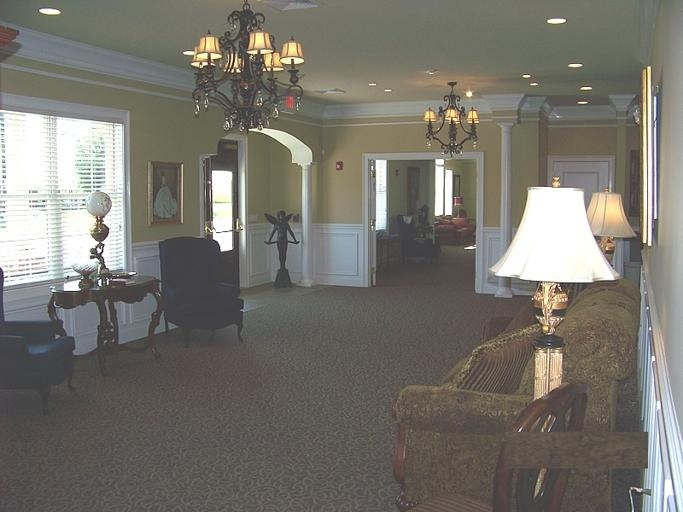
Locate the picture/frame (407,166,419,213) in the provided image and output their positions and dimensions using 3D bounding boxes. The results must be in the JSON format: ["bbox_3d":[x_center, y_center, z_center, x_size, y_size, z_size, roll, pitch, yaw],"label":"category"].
[{"bbox_3d":[2.240,-2.084,16.469,0.056,1.570,1.332,5,12,26],"label":"picture/frame"}]

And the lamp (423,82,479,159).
[{"bbox_3d":[1.780,-2.273,8.534,0.992,1.542,1.039,-1,-3,10],"label":"lamp"}]

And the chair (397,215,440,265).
[{"bbox_3d":[1.933,-0.490,13.732,1.186,1.559,1.100,0,8,7],"label":"chair"}]

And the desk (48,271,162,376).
[{"bbox_3d":[-2.428,0.687,5.415,0.744,0.832,1.063,-6,0,20],"label":"desk"}]

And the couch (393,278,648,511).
[{"bbox_3d":[0.936,0.180,2.726,1.088,0.958,1.919,1,8,24],"label":"couch"}]

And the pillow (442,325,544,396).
[{"bbox_3d":[0.872,0.614,2.965,0.478,0.172,0.456,-8,7,-16],"label":"pillow"}]

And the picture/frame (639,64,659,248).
[{"bbox_3d":[2.375,-0.949,4.012,0.060,1.021,1.400,1,24,33],"label":"picture/frame"}]

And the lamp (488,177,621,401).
[{"bbox_3d":[0.928,0.172,2.282,0.512,0.971,0.417,1,7,7],"label":"lamp"}]
